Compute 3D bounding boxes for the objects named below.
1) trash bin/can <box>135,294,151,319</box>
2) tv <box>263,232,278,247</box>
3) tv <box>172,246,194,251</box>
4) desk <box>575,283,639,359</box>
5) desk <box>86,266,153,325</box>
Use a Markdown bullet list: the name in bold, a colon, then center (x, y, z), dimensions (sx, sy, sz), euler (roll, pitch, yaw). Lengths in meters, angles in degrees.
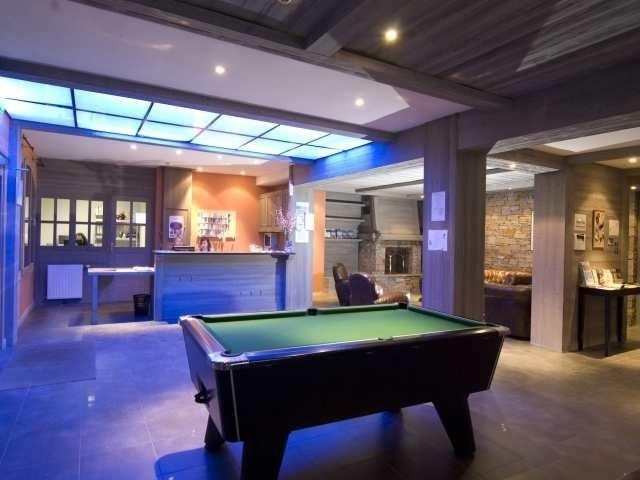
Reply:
- **trash bin/can**: center (-3.355, 1.272, 8.493), dimensions (0.395, 0.341, 0.371), euler (-2, 3, -39)
- **tv**: center (-1.236, 0.065, 11.265), dimensions (0.368, 0.420, 0.377), euler (0, 0, 5)
- **tv**: center (-2.575, 0.194, 8.564), dimensions (0.364, 0.067, 0.589), euler (0, 0, -15)
- **desk**: center (4.535, 1.316, 7.209), dimensions (1.091, 0.782, 0.451), euler (1, -1, -30)
- **desk**: center (-3.756, 0.808, 8.304), dimensions (1.343, 0.976, 1.244), euler (2, -4, -39)
